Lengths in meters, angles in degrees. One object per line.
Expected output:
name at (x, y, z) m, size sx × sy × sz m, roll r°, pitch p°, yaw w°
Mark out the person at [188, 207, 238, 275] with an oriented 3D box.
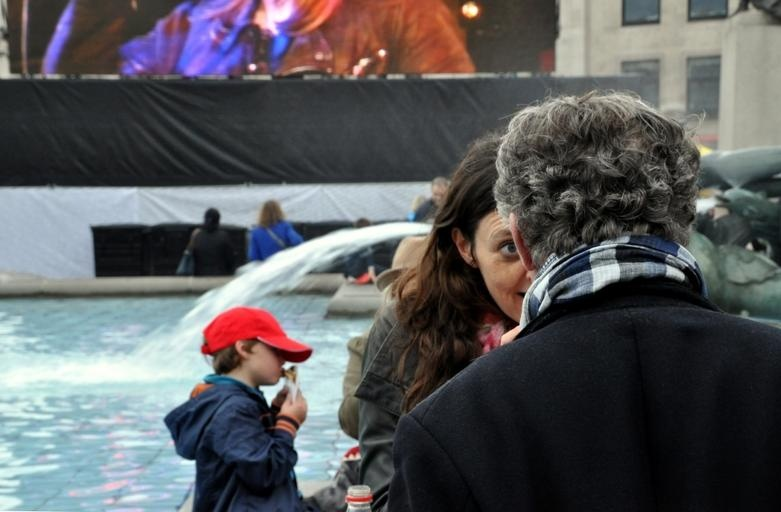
person at (-3.407, -0.245, 21.644) m, size 0.816 × 1.259 × 0.859 m, roll 4°, pitch 4°, yaw 35°
